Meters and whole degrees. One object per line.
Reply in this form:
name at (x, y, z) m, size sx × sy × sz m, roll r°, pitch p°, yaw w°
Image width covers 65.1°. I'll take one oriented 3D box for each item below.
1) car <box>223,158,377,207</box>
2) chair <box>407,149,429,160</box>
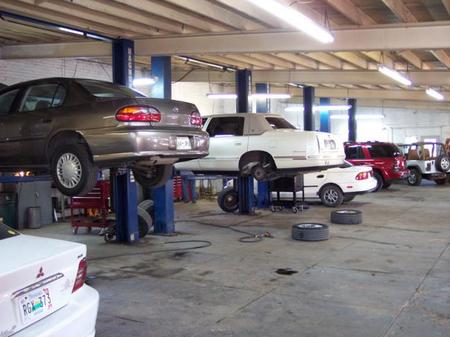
car at (2.571, 0.517, 12.186) m, size 4.244 × 1.062 × 2.138 m, roll 1°, pitch 4°, yaw 21°
chair at (10.107, -0.669, 18.317) m, size 0.815 × 0.532 × 0.733 m, roll 7°, pitch -3°, yaw 12°
